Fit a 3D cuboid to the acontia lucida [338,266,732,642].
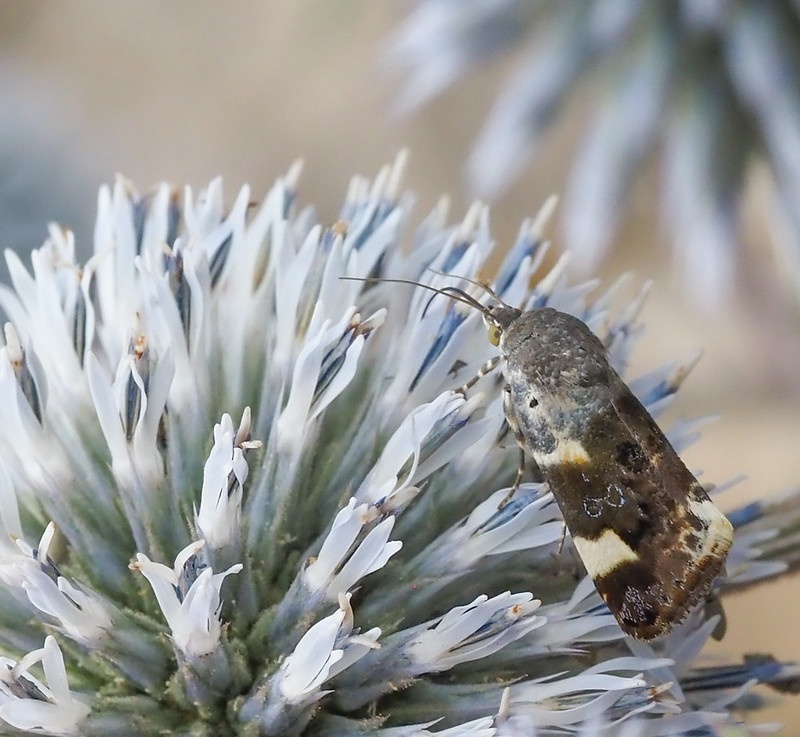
[{"bbox_3d":[0.098,0.024,0.881,0.192,0.349,0.095,-28,-9,-32],"label":"acontia lucida"}]
